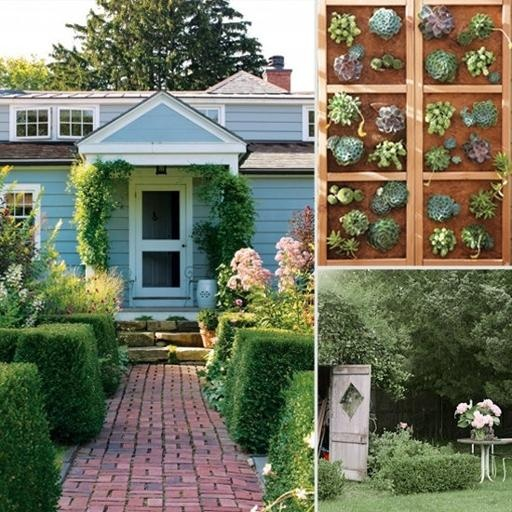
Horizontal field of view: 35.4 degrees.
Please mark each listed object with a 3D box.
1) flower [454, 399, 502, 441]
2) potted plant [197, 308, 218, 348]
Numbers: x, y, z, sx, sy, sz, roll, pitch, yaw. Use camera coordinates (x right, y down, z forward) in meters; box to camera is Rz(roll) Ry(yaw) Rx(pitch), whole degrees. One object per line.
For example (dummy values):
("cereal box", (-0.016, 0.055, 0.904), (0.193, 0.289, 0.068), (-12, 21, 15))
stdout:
("flower", (1.140, 0.830, 4.088), (0.243, 0.176, 0.217), (2, -13, -6))
("potted plant", (-0.588, 0.912, 9.944), (0.239, 0.519, 0.581), (0, 3, -3))
